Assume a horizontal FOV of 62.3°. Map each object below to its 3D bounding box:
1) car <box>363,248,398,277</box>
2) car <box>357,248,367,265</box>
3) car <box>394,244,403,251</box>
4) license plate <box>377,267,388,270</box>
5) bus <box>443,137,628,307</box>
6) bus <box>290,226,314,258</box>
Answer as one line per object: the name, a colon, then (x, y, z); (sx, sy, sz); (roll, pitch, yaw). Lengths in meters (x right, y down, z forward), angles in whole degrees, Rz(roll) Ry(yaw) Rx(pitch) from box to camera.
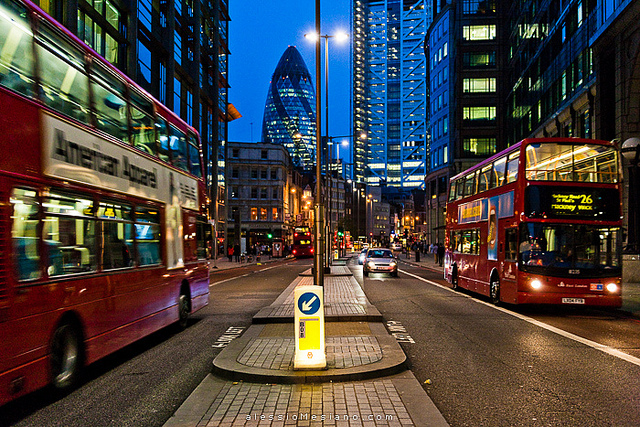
car: (3.970, 3.177, 35.346); (2.150, 1.850, 2.907); (-5, -7, 3)
car: (5.536, 5.485, 70.599); (1.637, 1.613, 3.555); (0, -5, 0)
car: (15.646, 6.696, 107.441); (1.610, 1.320, 1.152); (1, 0, 31)
license plate: (4.017, 3.482, 34.061); (0.618, 0.182, 0.120); (-9, -7, 23)
bus: (7.973, 0.629, 22.291); (3.319, 5.835, 11.094); (1, -3, -1)
bus: (-2.978, 4.849, 77.463); (2.815, 4.658, 9.232); (-2, -13, -6)
